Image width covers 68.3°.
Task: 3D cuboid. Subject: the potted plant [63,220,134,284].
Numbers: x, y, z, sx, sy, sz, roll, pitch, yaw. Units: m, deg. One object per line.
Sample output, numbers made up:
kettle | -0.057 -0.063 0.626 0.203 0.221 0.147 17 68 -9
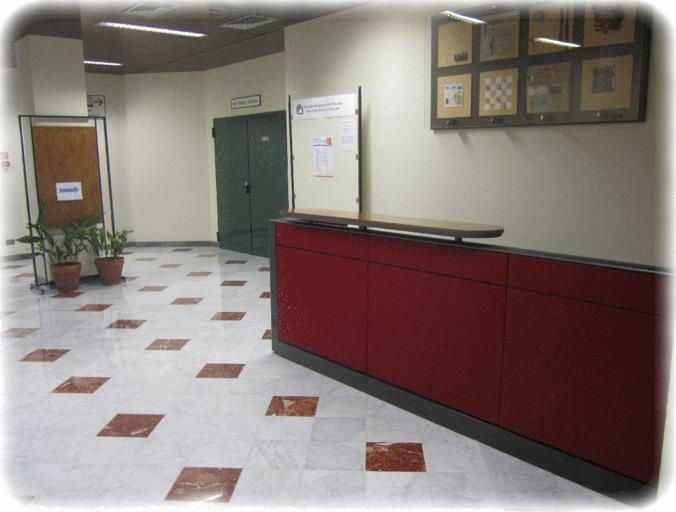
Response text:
potted plant | -3.279 -0.026 7.054 1.147 0.853 0.907 -2 -2 17

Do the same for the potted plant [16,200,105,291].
potted plant | -3.746 -0.162 7.100 1.201 1.125 1.091 -7 12 -41
